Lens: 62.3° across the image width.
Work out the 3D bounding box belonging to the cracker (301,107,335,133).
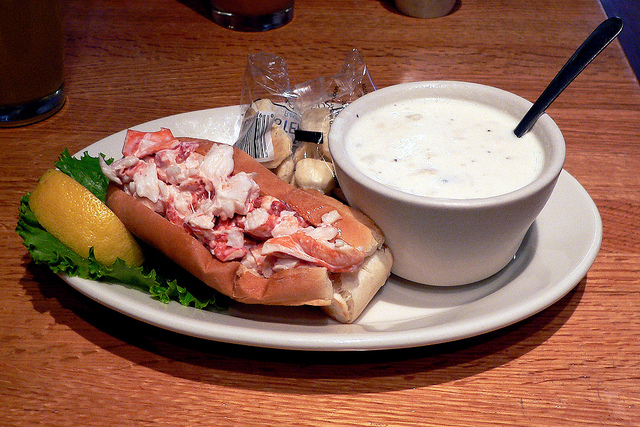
[{"bbox_3d":[-0.020,-0.281,1.613,0.098,0.027,0.083,13,81,29],"label":"cracker"}]

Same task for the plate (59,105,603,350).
[{"bbox_3d":[0.122,-0.048,1.694,1.383,0.445,1.085,5,23,7],"label":"plate"}]

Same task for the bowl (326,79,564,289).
[{"bbox_3d":[0.339,-0.059,1.559,0.655,0.356,0.570,-4,45,1],"label":"bowl"}]

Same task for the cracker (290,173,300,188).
[{"bbox_3d":[-0.072,-0.098,1.551,0.022,0.039,0.035,3,90,-22],"label":"cracker"}]

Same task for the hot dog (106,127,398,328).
[{"bbox_3d":[-0.230,0.075,1.469,0.787,0.246,0.379,30,63,17],"label":"hot dog"}]

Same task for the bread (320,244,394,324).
[{"bbox_3d":[0.102,0.178,1.349,0.122,0.078,0.213,33,73,31],"label":"bread"}]

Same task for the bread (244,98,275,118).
[{"bbox_3d":[-0.180,-0.324,1.626,0.057,0.069,0.019,-20,105,-19],"label":"bread"}]

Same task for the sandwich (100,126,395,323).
[{"bbox_3d":[-0.229,0.075,1.458,0.787,0.242,0.383,31,61,21],"label":"sandwich"}]

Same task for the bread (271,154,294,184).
[{"bbox_3d":[-0.105,-0.128,1.562,0.039,0.068,0.062,26,105,21],"label":"bread"}]

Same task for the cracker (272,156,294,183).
[{"bbox_3d":[-0.095,-0.137,1.601,0.041,0.071,0.074,32,60,31],"label":"cracker"}]
